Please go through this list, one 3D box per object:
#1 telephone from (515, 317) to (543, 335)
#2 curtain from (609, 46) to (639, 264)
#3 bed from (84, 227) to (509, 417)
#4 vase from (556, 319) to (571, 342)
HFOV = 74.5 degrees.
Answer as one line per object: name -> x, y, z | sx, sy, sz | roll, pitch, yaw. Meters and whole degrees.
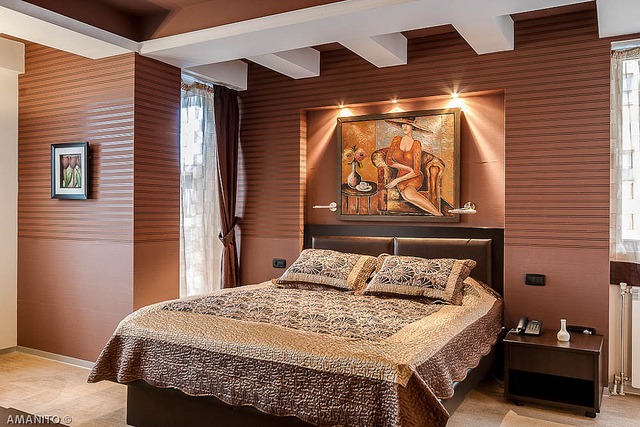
telephone -> 2.034, 1.096, 4.124 | 0.202, 0.112, 0.267 | 0, 1, 33
curtain -> 2.958, -0.569, 4.105 | 0.232, 2.101, 0.124 | 0, 2, 29
bed -> 0.004, 0.971, 4.045 | 2.865, 1.574, 2.757 | 0, 1, 29
vase -> 2.278, 1.083, 3.944 | 0.098, 0.183, 0.210 | 0, 1, 34
